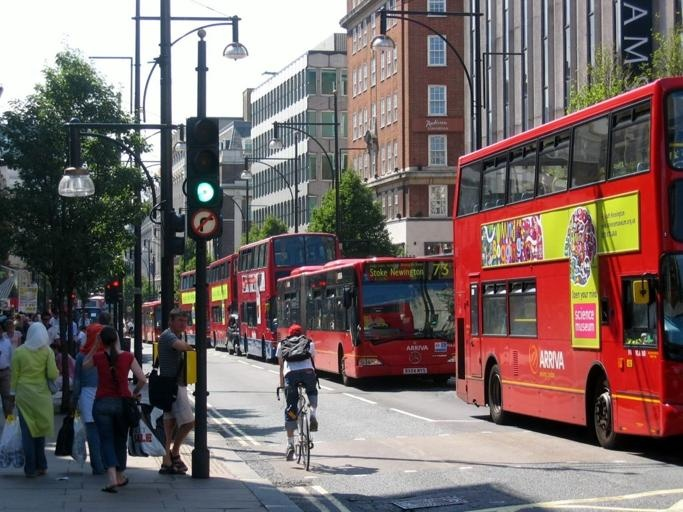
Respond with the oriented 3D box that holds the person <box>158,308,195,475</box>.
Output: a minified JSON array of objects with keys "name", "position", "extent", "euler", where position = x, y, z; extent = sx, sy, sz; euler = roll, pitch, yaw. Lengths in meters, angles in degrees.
[{"name":"person","position":[-2.124,1.856,13.307],"extent":[0.671,2.175,0.660],"euler":[0,-1,-28]}]

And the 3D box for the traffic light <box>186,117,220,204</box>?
[{"name":"traffic light","position":[-1.838,-1.255,13.098],"extent":[0.428,1.221,0.388],"euler":[-1,-6,-10]}]

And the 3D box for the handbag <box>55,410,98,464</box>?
[{"name":"handbag","position":[-3.398,2.466,13.326],"extent":[0.556,0.837,0.721],"euler":[8,0,-37]}]

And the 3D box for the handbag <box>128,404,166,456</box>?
[{"name":"handbag","position":[-2.581,2.302,13.026],"extent":[0.564,0.906,0.394],"euler":[3,-11,-19]}]

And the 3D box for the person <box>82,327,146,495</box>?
[{"name":"person","position":[-2.866,1.902,12.489],"extent":[0.674,2.074,0.710],"euler":[-1,-6,-2]}]

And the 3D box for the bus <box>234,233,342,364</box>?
[{"name":"bus","position":[-2.091,1.205,42.962],"extent":[2.588,4.731,7.952],"euler":[0,-3,-18]}]

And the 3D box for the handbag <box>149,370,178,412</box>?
[{"name":"handbag","position":[-2.396,1.808,13.287],"extent":[0.396,0.568,0.286],"euler":[-1,-6,-2]}]

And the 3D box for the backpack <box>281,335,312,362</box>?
[{"name":"backpack","position":[-0.669,1.346,14.856],"extent":[0.359,0.433,0.388],"euler":[3,2,27]}]

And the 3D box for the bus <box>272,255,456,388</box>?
[{"name":"bus","position":[0.527,2.075,32.737],"extent":[3.819,4.309,13.565],"euler":[0,-8,-16]}]
